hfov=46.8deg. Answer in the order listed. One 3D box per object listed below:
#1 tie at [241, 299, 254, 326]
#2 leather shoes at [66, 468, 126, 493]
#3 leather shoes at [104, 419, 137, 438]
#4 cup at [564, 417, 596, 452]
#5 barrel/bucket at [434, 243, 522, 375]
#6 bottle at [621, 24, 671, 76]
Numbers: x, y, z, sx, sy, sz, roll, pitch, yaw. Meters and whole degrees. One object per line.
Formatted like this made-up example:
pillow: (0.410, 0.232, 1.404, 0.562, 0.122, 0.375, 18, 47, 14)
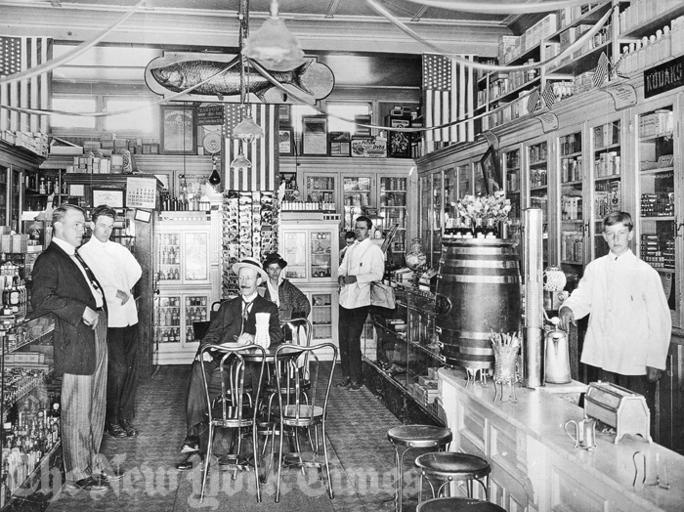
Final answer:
tie: (-0.919, 0.535, 7.653, 0.055, 0.174, 0.112, 5, -3, -40)
leather shoes: (-2.105, 1.936, 6.758, 0.464, 0.212, 0.163, 16, -10, -30)
leather shoes: (-2.188, 1.723, 7.880, 0.330, 0.154, 0.137, 2, 1, -8)
cup: (1.499, 1.134, 5.082, 0.197, 0.233, 0.119, -3, 1, -2)
barrel/bucket: (1.166, 0.407, 6.275, 0.691, 1.163, 0.741, 5, -7, 1)
bottle: (2.824, -1.882, 7.324, 0.168, 0.416, 0.661, -1, 8, -15)
